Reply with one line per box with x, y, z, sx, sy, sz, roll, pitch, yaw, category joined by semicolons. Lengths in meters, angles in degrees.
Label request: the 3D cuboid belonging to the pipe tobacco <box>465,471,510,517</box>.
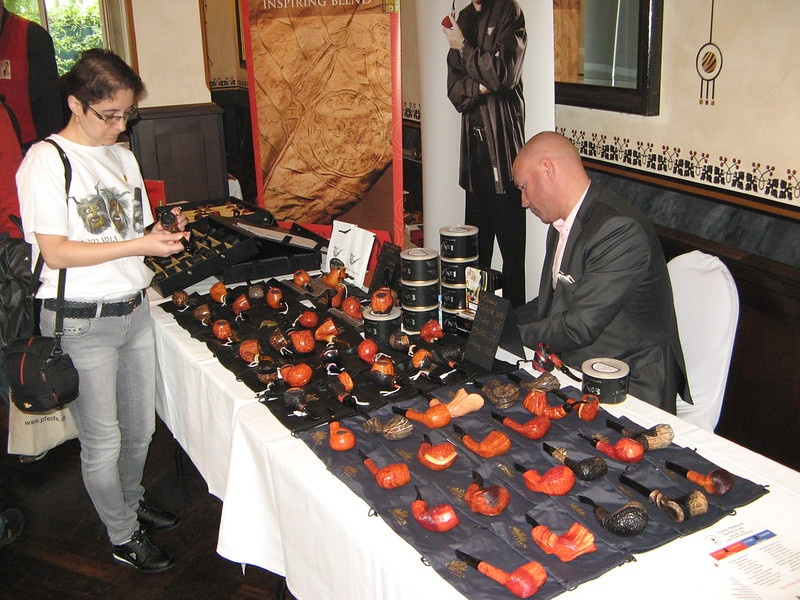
0.244;0.540;1.615;0.131;0.052;0.135;11;23;28;pipe tobacco

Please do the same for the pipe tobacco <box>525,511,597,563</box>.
0.413;0.595;1.466;0.081;0.041;0.118;-12;26;-40;pipe tobacco

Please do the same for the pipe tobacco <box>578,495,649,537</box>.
0.579;0.566;1.529;0.069;0.049;0.120;-15;25;-20;pipe tobacco

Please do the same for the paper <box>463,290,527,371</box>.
0.375;0.134;2.323;0.164;0.276;0.201;-16;28;-34;paper

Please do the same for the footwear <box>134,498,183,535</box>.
-1.278;1.128;2.971;0.257;0.112;0.101;7;24;10;footwear

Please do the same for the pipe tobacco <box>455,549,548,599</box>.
0.249;0.642;1.397;0.070;0.048;0.174;-22;25;-40;pipe tobacco

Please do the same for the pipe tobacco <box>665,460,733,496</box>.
0.873;0.500;1.643;0.057;0.048;0.149;-26;22;-16;pipe tobacco

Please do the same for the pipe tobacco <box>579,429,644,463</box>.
0.665;0.437;1.792;0.059;0.050;0.165;-28;26;-26;pipe tobacco

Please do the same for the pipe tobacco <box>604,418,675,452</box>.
0.768;0.413;1.833;0.073;0.063;0.224;3;2;-20;pipe tobacco

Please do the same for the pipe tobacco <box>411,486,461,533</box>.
0.086;0.584;1.568;0.161;0.055;0.102;14;33;38;pipe tobacco

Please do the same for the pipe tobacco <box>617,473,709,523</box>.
0.736;0.528;1.599;0.075;0.052;0.187;-8;17;-28;pipe tobacco
